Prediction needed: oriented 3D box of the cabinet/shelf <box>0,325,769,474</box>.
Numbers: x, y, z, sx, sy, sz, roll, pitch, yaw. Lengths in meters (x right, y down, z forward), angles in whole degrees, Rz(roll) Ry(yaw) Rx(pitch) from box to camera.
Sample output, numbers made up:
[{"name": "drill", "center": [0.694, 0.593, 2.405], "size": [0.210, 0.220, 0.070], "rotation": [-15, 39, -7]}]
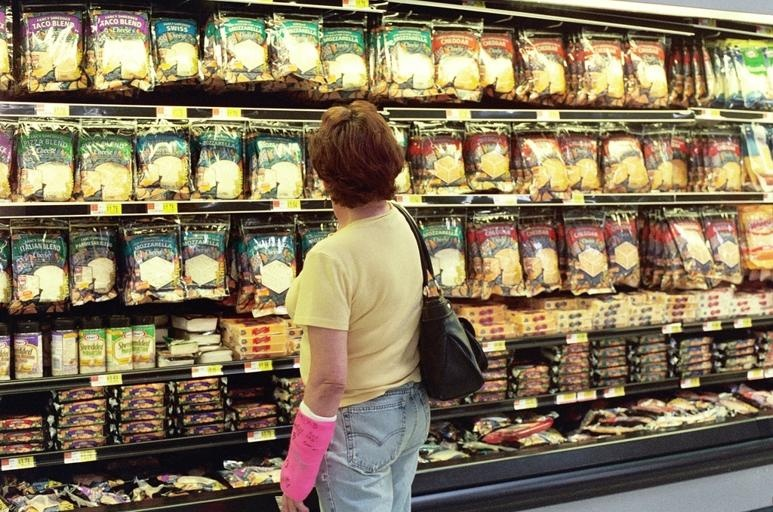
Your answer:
[{"name": "cabinet/shelf", "center": [-0.148, 0.838, 3.719], "size": [3.936, 0.477, 0.282], "rotation": [-3, 16, -26]}]
